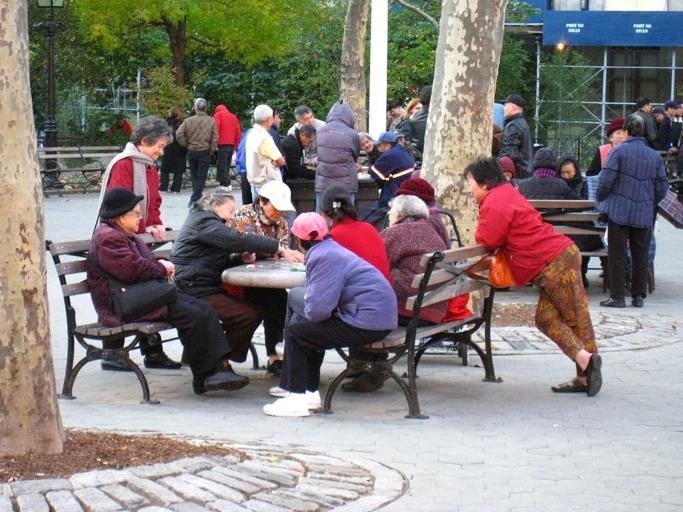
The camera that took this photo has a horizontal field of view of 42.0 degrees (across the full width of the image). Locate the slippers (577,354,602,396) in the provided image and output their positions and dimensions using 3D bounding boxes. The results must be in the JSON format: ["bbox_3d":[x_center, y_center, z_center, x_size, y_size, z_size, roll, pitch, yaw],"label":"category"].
[{"bbox_3d":[2.123,0.973,7.505,0.147,0.372,0.169,-12,10,-27],"label":"slippers"}]

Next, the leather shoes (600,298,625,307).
[{"bbox_3d":[3.383,0.566,11.075,0.307,0.113,0.277,2,8,15],"label":"leather shoes"}]

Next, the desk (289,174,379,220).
[{"bbox_3d":[-0.114,-1.116,13.859,1.297,1.014,0.786,-1,2,-1],"label":"desk"}]

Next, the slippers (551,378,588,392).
[{"bbox_3d":[1.980,1.108,7.692,0.314,0.090,0.113,2,-1,5],"label":"slippers"}]

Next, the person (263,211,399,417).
[{"bbox_3d":[-0.077,0.447,7.033,1.038,1.562,0.547,0,9,2],"label":"person"}]

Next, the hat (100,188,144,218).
[{"bbox_3d":[-1.810,-0.437,7.314,0.310,0.138,0.239,-25,15,24],"label":"hat"}]

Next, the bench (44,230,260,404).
[{"bbox_3d":[-2.202,0.725,8.405,1.040,1.153,2.360,0,-8,-16],"label":"bench"}]

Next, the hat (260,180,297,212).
[{"bbox_3d":[-0.601,-0.556,8.199,0.361,0.172,0.252,22,14,37],"label":"hat"}]

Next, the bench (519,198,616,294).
[{"bbox_3d":[2.932,-0.095,11.404,0.931,1.249,2.322,3,8,17],"label":"bench"}]
